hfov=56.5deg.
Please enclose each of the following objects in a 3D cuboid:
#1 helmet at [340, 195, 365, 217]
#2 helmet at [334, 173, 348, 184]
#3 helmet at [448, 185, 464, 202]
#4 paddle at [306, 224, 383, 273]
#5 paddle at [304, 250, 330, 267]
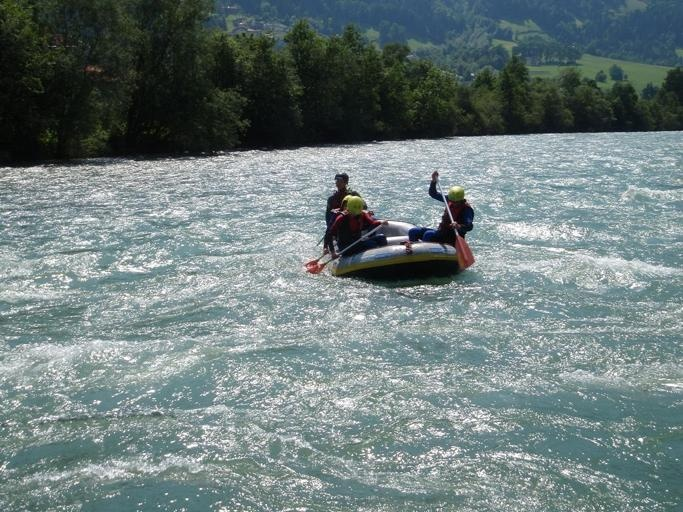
[{"bbox_3d":[0.224,-0.879,10.979,0.364,0.317,0.430,-2,11,0],"label":"helmet"},{"bbox_3d":[-0.017,-1.444,11.762,0.227,0.176,0.283,6,13,26],"label":"helmet"},{"bbox_3d":[1.995,-1.083,10.981,0.234,0.209,0.300,30,26,28],"label":"helmet"},{"bbox_3d":[0.101,-0.111,10.939,1.726,0.089,0.267,-26,50,2],"label":"paddle"},{"bbox_3d":[-0.388,0.003,11.284,0.164,0.098,1.059,29,23,5],"label":"paddle"}]
